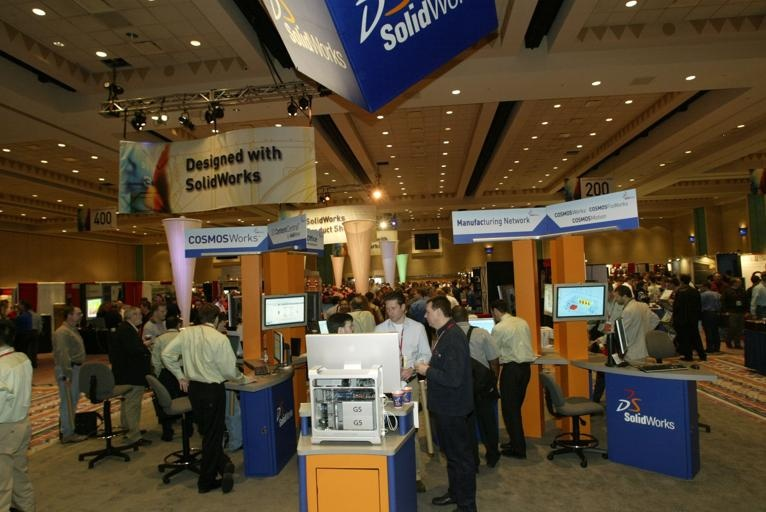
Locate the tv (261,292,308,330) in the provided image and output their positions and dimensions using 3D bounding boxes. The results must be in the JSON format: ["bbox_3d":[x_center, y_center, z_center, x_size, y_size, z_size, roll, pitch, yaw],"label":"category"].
[{"bbox_3d":[-1.566,0.855,8.666,0.650,0.423,0.065,1,-1,-41],"label":"tv"}]

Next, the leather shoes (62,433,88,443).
[{"bbox_3d":[-4.998,2.940,9.009,0.314,0.121,0.131,1,-2,-14],"label":"leather shoes"}]

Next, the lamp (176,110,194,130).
[{"bbox_3d":[-3.477,-2.406,9.844,0.211,0.377,0.423,0,-6,-20],"label":"lamp"}]

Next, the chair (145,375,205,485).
[{"bbox_3d":[-2.850,2.374,7.966,0.931,1.437,0.904,-2,-4,-33],"label":"chair"}]

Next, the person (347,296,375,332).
[{"bbox_3d":[-0.372,0.984,9.259,0.437,0.826,0.299,-9,-4,-2],"label":"person"}]

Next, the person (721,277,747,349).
[{"bbox_3d":[8.397,1.295,13.218,0.624,1.683,0.400,-4,22,32],"label":"person"}]

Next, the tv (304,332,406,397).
[{"bbox_3d":[-0.307,1.362,6.070,1.230,0.800,0.616,-1,0,3],"label":"tv"}]

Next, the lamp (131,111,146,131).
[{"bbox_3d":[-4.242,-2.326,9.769,0.305,0.412,0.146,3,11,0],"label":"lamp"}]

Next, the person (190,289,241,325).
[{"bbox_3d":[-3.620,1.086,12.047,0.686,0.905,0.963,-1,0,7],"label":"person"}]

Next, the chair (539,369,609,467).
[{"bbox_3d":[2.659,2.215,7.733,0.885,1.111,0.867,0,-2,-4],"label":"chair"}]

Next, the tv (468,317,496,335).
[{"bbox_3d":[1.489,1.057,8.380,0.455,0.060,0.313,1,29,3],"label":"tv"}]

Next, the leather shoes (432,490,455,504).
[{"bbox_3d":[0.753,3.013,6.969,0.354,0.132,0.116,2,-4,-4],"label":"leather shoes"}]

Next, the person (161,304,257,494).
[{"bbox_3d":[-2.324,1.876,7.401,1.029,2.447,0.408,-2,-6,4],"label":"person"}]

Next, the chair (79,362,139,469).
[{"bbox_3d":[-4.283,2.370,8.649,0.765,1.492,1.367,1,-6,-28],"label":"chair"}]

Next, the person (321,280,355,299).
[{"bbox_3d":[-1.586,1.210,19.300,1.195,0.420,1.224,1,-5,-3],"label":"person"}]

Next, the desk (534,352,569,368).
[{"bbox_3d":[2.515,1.594,8.455,0.559,0.221,0.602,-2,-6,3],"label":"desk"}]

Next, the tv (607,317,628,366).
[{"bbox_3d":[3.236,1.209,7.708,0.231,0.607,0.420,-8,-10,32],"label":"tv"}]

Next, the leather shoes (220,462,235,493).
[{"bbox_3d":[-2.071,2.918,7.362,0.156,0.322,0.228,8,-16,-26],"label":"leather shoes"}]

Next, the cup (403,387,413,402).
[{"bbox_3d":[0.271,1.551,6.257,0.152,0.153,0.150,0,-5,0],"label":"cup"}]

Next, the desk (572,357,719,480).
[{"bbox_3d":[3.710,2.082,7.861,2.222,1.480,1.231,0,3,43],"label":"desk"}]

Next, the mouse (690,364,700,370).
[{"bbox_3d":[4.134,1.467,7.376,0.092,0.058,0.060,-1,-4,-2],"label":"mouse"}]

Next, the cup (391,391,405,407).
[{"bbox_3d":[0.164,1.586,6.149,0.149,0.153,0.146,0,-9,0],"label":"cup"}]

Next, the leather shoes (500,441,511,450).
[{"bbox_3d":[1.754,2.732,8.027,0.182,0.166,0.077,1,-12,2],"label":"leather shoes"}]

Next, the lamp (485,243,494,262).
[{"bbox_3d":[5.852,-0.221,30.793,0.404,0.920,0.992,-4,-6,21],"label":"lamp"}]

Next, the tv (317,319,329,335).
[{"bbox_3d":[-0.921,1.095,8.557,0.181,0.264,0.062,-4,-8,-3],"label":"tv"}]

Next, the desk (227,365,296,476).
[{"bbox_3d":[-1.670,2.294,7.738,0.582,1.417,1.555,-2,-3,6],"label":"desk"}]

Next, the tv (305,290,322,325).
[{"bbox_3d":[-1.319,0.959,10.488,0.381,0.578,0.677,0,0,-20],"label":"tv"}]

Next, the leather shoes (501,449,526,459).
[{"bbox_3d":[1.826,2.761,7.881,0.358,0.137,0.127,5,0,17],"label":"leather shoes"}]
